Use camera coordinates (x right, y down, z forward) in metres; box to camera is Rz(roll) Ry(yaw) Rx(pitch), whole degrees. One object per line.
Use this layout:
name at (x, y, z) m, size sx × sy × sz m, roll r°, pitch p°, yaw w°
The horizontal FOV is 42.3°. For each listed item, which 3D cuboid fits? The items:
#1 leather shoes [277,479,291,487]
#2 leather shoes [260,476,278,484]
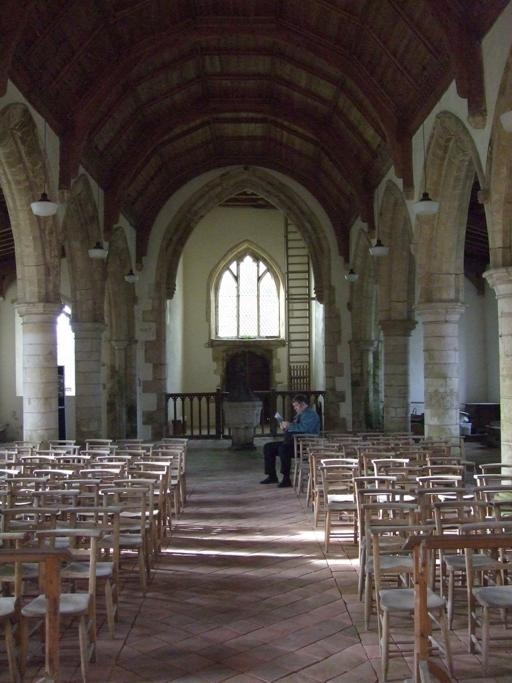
leather shoes at (0.361, 1.834, 8.541) m, size 0.139 × 0.097 × 0.081 m, roll 0°, pitch -6°, yaw 2°
leather shoes at (0.164, 1.893, 8.978) m, size 0.229 × 0.166 × 0.089 m, roll 4°, pitch -8°, yaw -4°
